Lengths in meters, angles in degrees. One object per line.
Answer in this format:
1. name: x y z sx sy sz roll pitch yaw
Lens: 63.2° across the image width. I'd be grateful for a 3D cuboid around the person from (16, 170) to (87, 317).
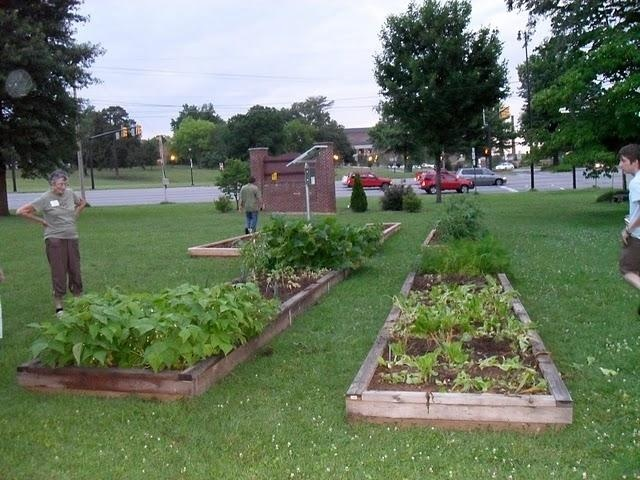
1. person: -3.786 0.063 7.520 0.546 2.090 0.821 1 12 15
